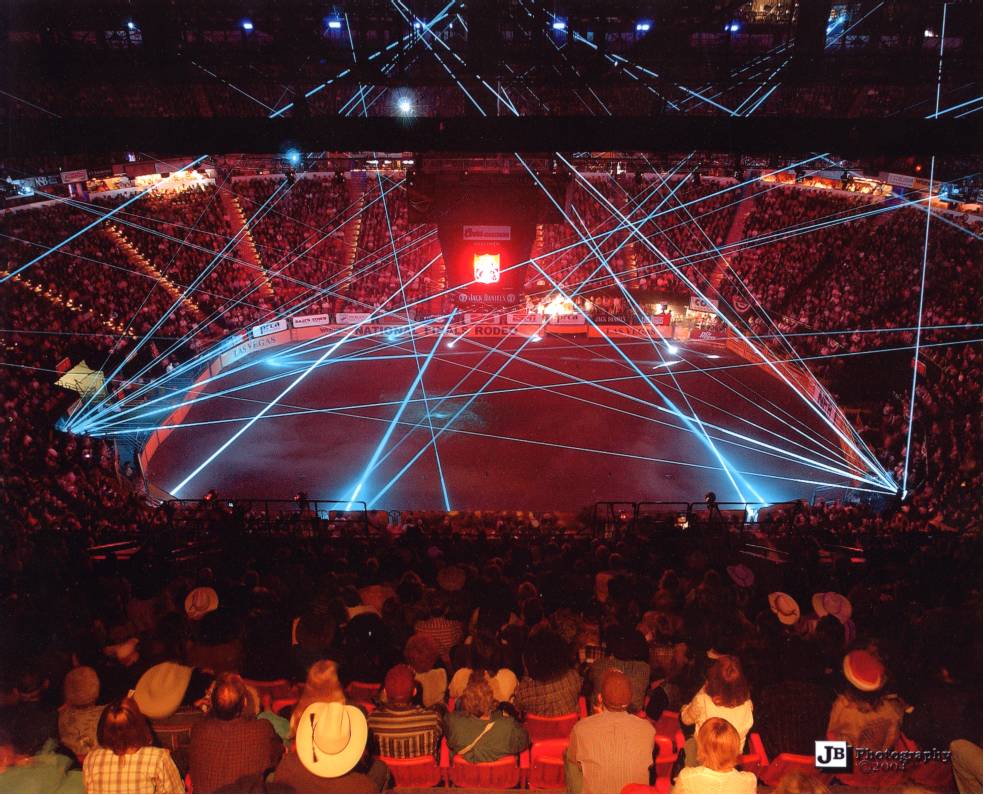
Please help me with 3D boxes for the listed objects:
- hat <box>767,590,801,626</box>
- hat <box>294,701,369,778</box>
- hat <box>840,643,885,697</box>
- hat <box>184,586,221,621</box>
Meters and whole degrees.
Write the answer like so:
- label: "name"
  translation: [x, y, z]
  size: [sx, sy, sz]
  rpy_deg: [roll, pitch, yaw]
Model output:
- label: "hat"
  translation: [2.689, 1.936, 7.577]
  size: [0.278, 0.382, 0.208]
  rpy_deg: [-12, -47, 7]
- label: "hat"
  translation: [-1.095, 2.332, 5.672]
  size: [0.473, 0.471, 0.159]
  rpy_deg: [1, -22, -1]
- label: "hat"
  translation: [2.831, 2.062, 6.275]
  size: [0.304, 0.258, 0.349]
  rpy_deg: [-12, -46, 7]
- label: "hat"
  translation: [-2.551, 1.819, 7.284]
  size: [0.336, 0.334, 0.232]
  rpy_deg: [0, -46, -4]
